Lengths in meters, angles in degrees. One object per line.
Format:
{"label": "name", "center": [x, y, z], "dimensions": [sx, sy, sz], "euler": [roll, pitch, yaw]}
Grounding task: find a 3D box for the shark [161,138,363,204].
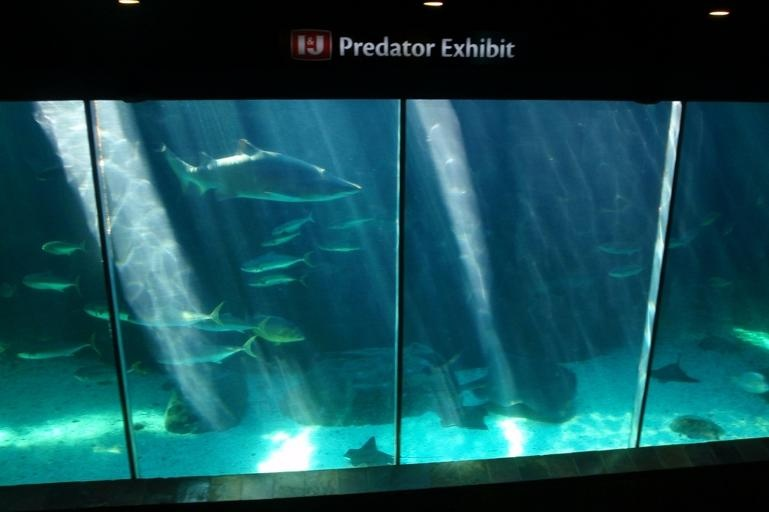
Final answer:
{"label": "shark", "center": [-4.510, -2.822, 23.407], "dimensions": [8.436, 1.620, 1.726], "euler": [8, 16, 27]}
